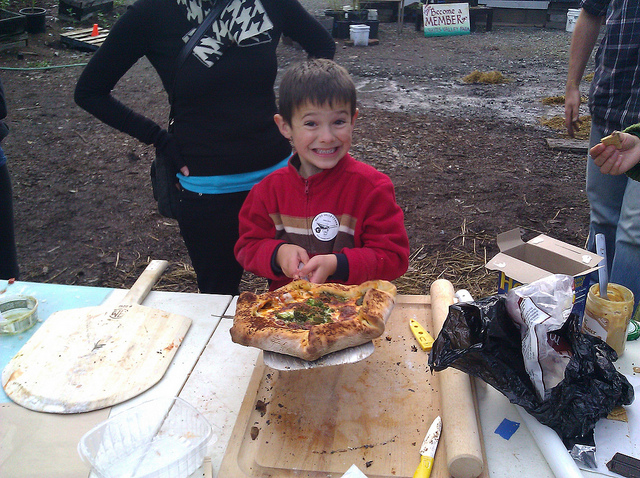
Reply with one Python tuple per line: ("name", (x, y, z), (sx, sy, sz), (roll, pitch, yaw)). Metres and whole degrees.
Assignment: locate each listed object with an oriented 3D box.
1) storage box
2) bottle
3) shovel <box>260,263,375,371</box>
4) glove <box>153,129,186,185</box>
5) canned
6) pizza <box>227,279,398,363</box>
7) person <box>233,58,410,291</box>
("storage box", (0.882, 0.081, 2.016), (0.441, 0.408, 0.423), (-4, 18, -31))
("bottle", (1.026, 0.287, 1.827), (0.168, 0.249, 0.198), (7, 18, -1))
("shovel", (0.016, 0.287, 1.879), (0.612, 0.072, 0.457), (-2, 30, 0))
("glove", (-0.722, -0.416, 2.485), (0.086, 0.226, 0.167), (-43, 39, -24))
("canned", (1.023, 0.297, 1.744), (0.180, 0.265, 0.167), (-14, 30, -6))
("pizza", (-0.035, 0.233, 1.867), (0.625, 0.236, 0.624), (0, 16, 6))
("person", (-0.029, -0.190, 2.081), (0.636, 0.981, 0.640), (-18, 34, -25))
